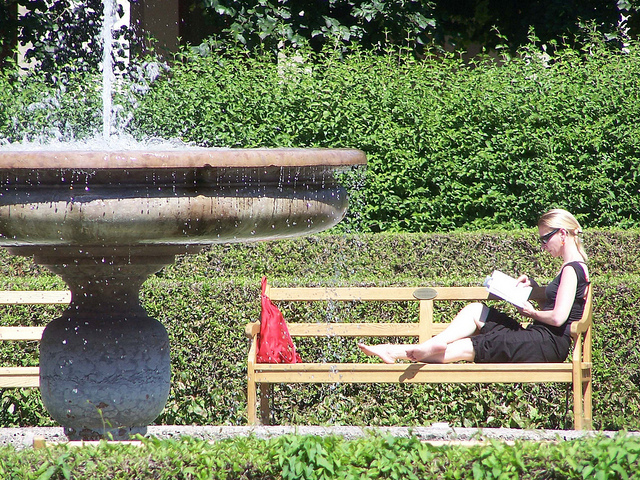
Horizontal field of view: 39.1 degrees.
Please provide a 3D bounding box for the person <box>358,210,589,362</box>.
[{"bbox_3d":[1.228,0.435,7.137,1.855,1.160,0.774,-5,1,11],"label":"person"}]

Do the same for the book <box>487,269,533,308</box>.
[{"bbox_3d":[1.433,0.380,6.932,0.312,0.236,0.074,31,-22,0],"label":"book"}]

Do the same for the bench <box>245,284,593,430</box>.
[{"bbox_3d":[0.759,0.981,7.137,2.658,1.216,0.861,-2,3,18],"label":"bench"}]

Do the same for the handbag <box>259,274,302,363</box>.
[{"bbox_3d":[-0.330,0.663,7.081,0.285,0.632,0.290,0,14,-3],"label":"handbag"}]
